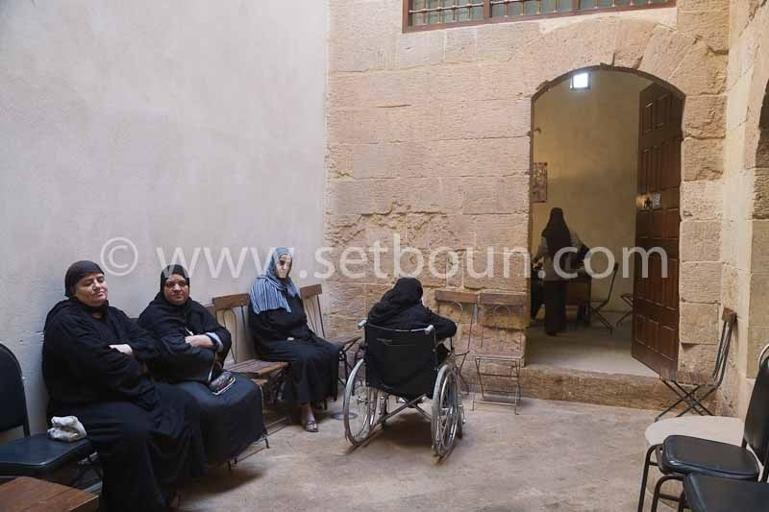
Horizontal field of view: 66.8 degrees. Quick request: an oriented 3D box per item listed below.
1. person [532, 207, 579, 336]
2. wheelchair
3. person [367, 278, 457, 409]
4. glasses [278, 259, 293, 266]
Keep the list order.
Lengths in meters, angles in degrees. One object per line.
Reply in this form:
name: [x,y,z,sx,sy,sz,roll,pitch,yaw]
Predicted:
person: [2.415,0.198,8.285,0.473,1.748,0.580,7,14,30]
wheelchair: [0.178,1.149,5.687,0.900,1.093,1.404,0,4,17]
person: [0.565,0.751,5.479,0.799,1.045,1.315,1,2,13]
glasses: [-1.041,0.056,6.167,0.086,0.062,0.080,3,7,-9]
